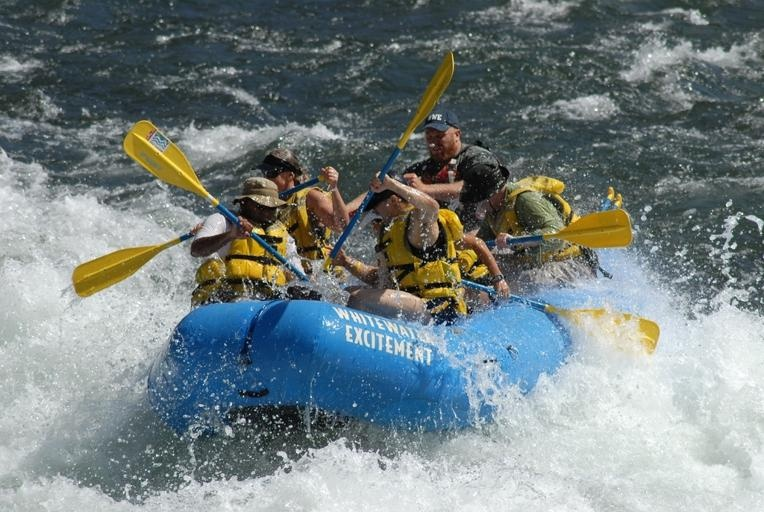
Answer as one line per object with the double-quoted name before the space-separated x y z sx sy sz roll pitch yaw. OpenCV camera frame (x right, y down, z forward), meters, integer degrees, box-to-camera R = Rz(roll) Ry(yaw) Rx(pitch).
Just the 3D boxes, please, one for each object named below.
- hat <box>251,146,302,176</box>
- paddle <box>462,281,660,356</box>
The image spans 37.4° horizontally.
"hat" -1.177 -1.087 13.379 0.422 0.293 0.215 11 83 -13
"paddle" 2.057 0.770 13.204 2.429 0.091 0.418 19 94 3
